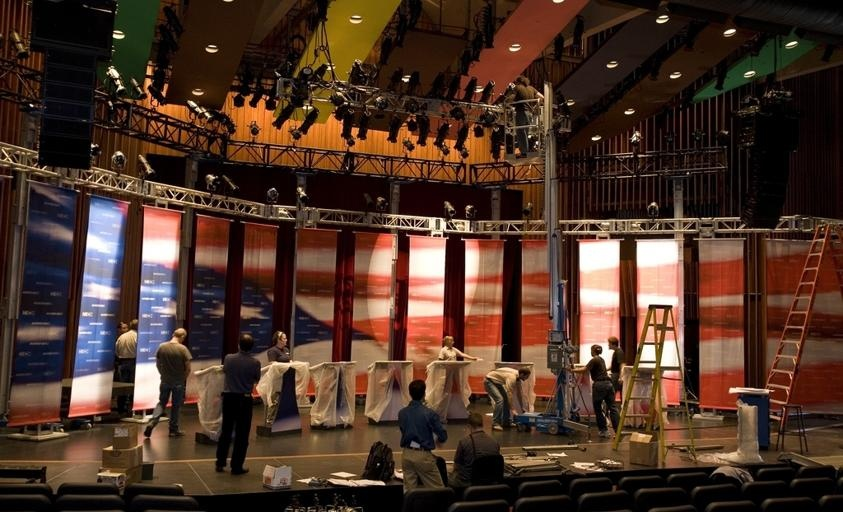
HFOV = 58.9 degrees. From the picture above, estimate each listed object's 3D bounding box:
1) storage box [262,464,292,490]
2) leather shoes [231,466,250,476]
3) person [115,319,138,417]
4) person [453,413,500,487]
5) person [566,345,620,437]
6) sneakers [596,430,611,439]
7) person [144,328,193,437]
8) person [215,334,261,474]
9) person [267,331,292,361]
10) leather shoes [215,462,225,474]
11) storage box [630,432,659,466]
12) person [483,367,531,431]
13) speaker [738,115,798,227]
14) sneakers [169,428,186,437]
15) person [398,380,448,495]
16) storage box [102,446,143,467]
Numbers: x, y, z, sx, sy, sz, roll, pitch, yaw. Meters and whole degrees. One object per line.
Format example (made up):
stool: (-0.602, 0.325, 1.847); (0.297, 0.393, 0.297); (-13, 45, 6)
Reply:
storage box: (-2.534, 3.860, 13.097); (0.405, 0.331, 0.475); (5, -8, -28)
leather shoes: (-3.306, 3.896, 13.648); (0.112, 0.209, 0.332); (11, 8, 30)
person: (-6.924, 2.572, 17.364); (0.457, 2.179, 1.426); (3, -14, -22)
person: (0.992, 3.371, 13.061); (0.988, 1.202, 0.863); (1, 2, -27)
person: (4.103, 3.063, 17.108); (0.774, 2.009, 1.250); (-5, -13, 11)
sneakers: (4.120, 4.001, 16.726); (0.347, 0.134, 0.121); (-2, 0, -18)
person: (-5.429, 2.659, 16.014); (0.812, 2.373, 1.418); (2, -14, -18)
person: (-3.434, 2.743, 13.913); (0.793, 2.557, 0.424); (-2, -13, -3)
person: (-3.424, 2.157, 17.860); (0.445, 0.799, 0.845); (-10, -13, 10)
leather shoes: (-3.689, 3.883, 13.655); (0.092, 0.168, 0.260); (3, 1, -2)
storage box: (4.403, 3.795, 14.637); (0.574, 0.627, 0.342); (-5, -13, 12)
person: (2.052, 3.363, 17.669); (0.981, 1.411, 0.659); (-3, -13, 4)
speaker: (8.064, -1.976, 17.026); (1.072, 2.310, 1.135); (-3, -13, 3)
sneakers: (-5.162, 3.725, 15.737); (0.326, 0.134, 0.134); (1, -2, -21)
person: (0.103, 3.445, 13.070); (1.035, 2.415, 0.827); (-1, 0, -6)
storage box: (-5.110, 3.425, 12.809); (0.468, 0.258, 0.451); (0, -2, 8)
